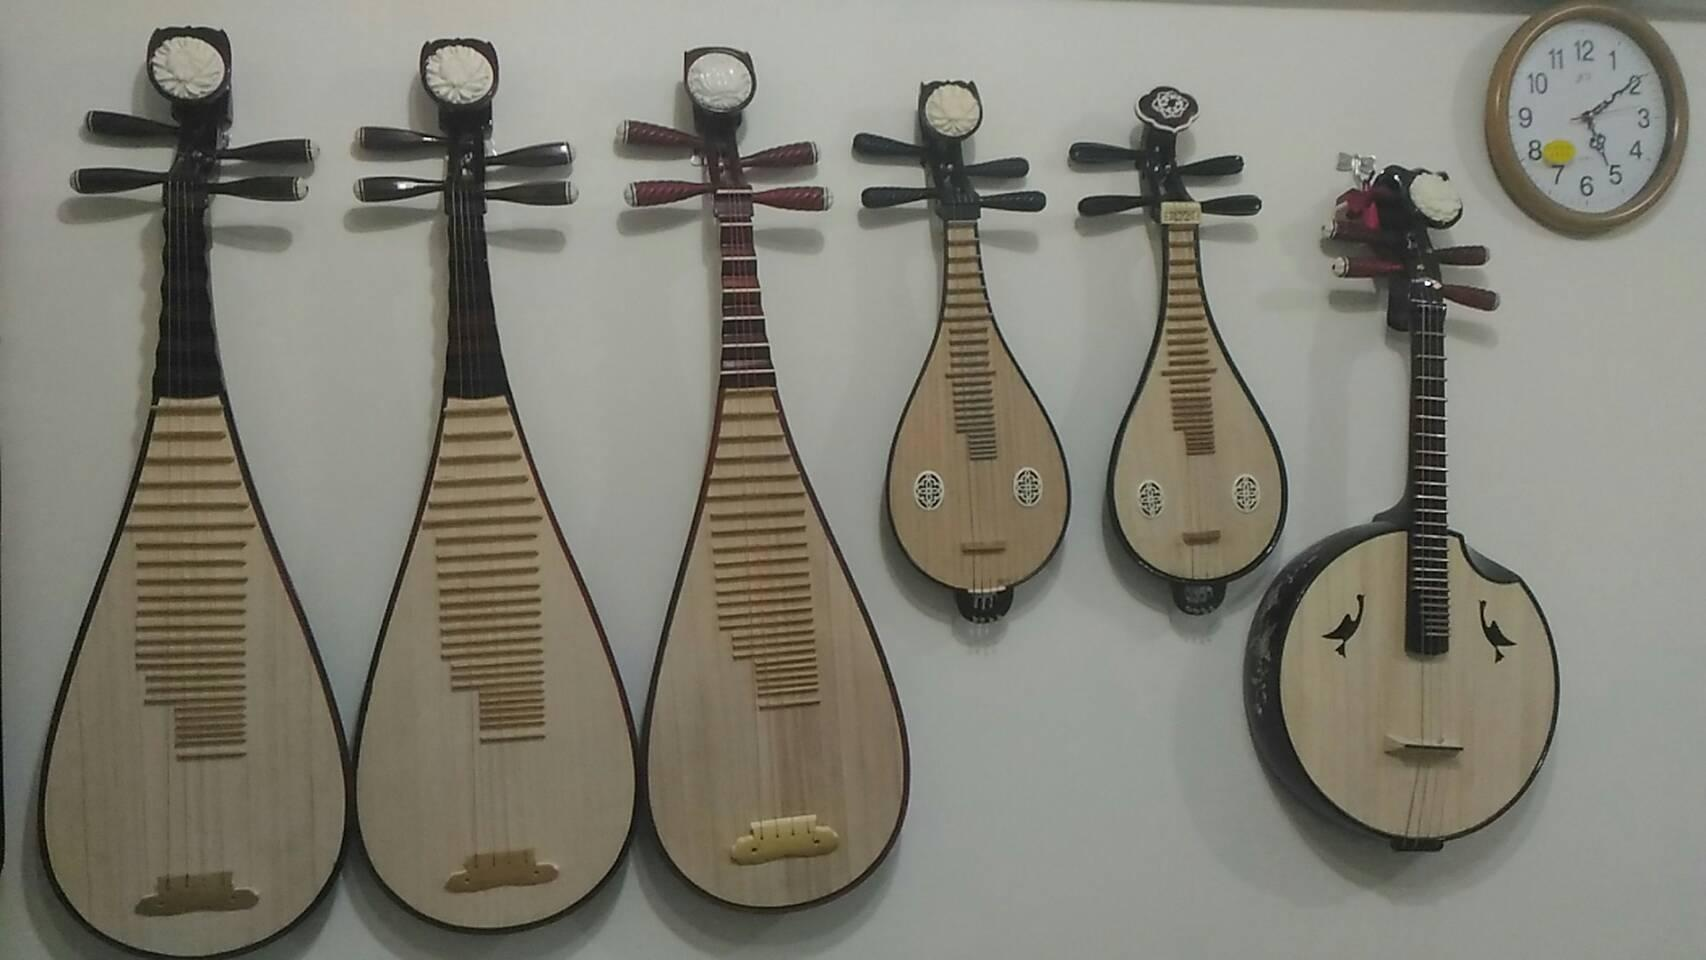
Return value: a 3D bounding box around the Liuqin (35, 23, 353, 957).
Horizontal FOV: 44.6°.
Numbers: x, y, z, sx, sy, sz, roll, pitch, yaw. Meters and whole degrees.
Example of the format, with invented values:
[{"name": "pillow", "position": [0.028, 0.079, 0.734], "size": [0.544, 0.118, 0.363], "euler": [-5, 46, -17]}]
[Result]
[{"name": "Liuqin", "position": [-1.453, 0.021, 4.526], "size": [0.642, 2.040, 0.157], "euler": [-3, -1, 8]}]
